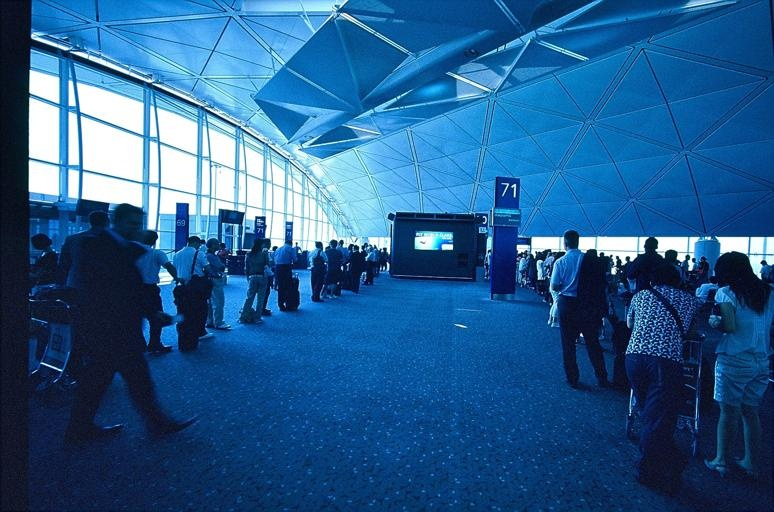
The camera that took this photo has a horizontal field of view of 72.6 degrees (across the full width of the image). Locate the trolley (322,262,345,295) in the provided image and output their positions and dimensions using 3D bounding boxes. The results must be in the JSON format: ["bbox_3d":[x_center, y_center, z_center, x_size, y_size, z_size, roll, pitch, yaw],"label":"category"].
[{"bbox_3d":[-2.239,0.908,21.528,1.067,0.686,1.824,22,-13,-5],"label":"trolley"}]

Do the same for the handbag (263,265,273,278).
[{"bbox_3d":[-3.623,0.449,16.006,0.313,0.288,0.305,-28,1,-8],"label":"handbag"}]

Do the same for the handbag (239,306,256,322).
[{"bbox_3d":[-4.130,1.732,15.663,0.463,0.522,0.471,-3,-3,35],"label":"handbag"}]

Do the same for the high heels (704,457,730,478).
[{"bbox_3d":[5.448,3.480,8.718,0.155,0.183,0.432,-6,11,-1],"label":"high heels"}]

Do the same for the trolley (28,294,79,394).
[{"bbox_3d":[-6.776,1.706,10.641,0.776,1.328,0.774,28,-20,-32],"label":"trolley"}]
